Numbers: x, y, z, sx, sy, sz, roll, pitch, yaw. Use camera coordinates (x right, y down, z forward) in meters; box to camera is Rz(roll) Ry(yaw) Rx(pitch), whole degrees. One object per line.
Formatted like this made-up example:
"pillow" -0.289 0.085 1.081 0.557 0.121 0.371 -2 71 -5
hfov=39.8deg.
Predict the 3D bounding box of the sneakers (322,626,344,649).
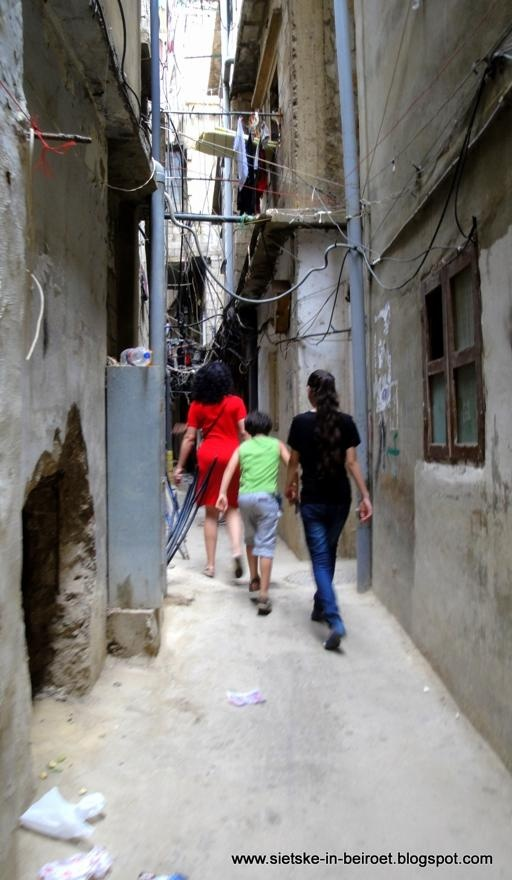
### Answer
"sneakers" 0.402 1.032 3.662 0.053 0.087 0.172 3 -31 -1

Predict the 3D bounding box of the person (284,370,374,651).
"person" 0.335 0.347 3.910 0.511 1.459 0.463 2 2 36

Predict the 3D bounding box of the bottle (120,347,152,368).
"bottle" -0.650 -0.447 3.793 0.156 0.128 0.313 0 3 -14

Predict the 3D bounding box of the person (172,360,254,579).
"person" -0.307 0.164 5.544 0.512 1.877 0.451 -9 19 -22
